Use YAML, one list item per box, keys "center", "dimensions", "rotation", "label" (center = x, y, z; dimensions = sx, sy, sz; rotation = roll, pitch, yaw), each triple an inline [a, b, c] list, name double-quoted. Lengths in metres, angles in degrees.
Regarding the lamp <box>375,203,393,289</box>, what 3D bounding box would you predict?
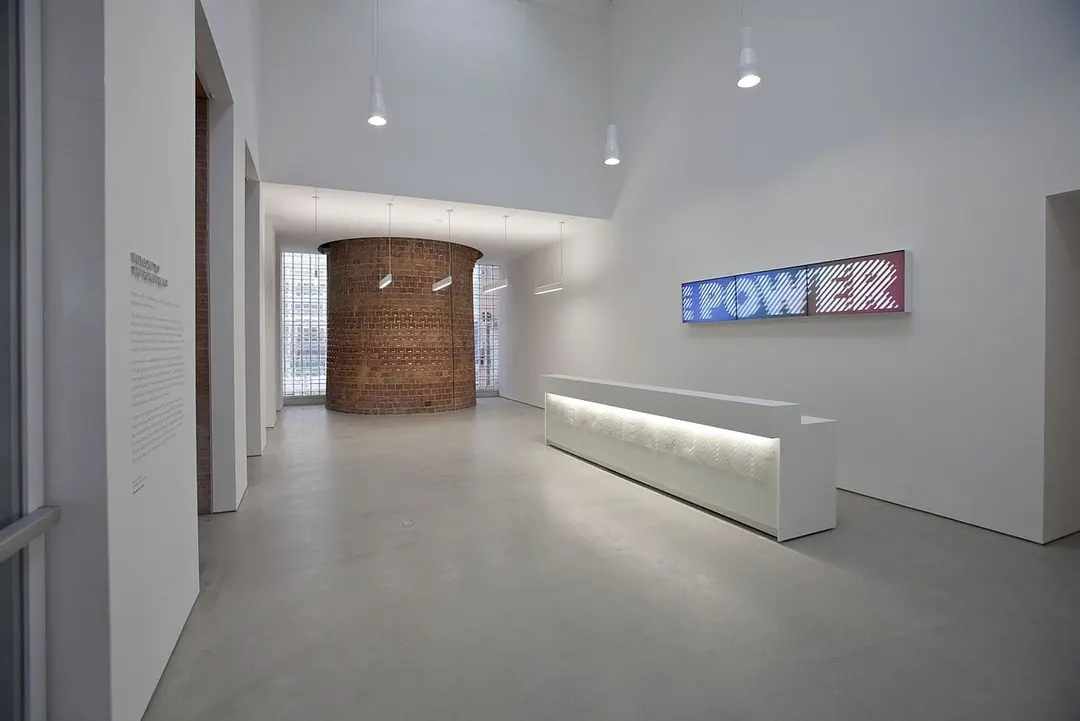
- center: [-3.065, -2.031, 12.736]
  dimensions: [0.353, 1.619, 2.106]
  rotation: [-4, 14, -14]
  label: "lamp"
